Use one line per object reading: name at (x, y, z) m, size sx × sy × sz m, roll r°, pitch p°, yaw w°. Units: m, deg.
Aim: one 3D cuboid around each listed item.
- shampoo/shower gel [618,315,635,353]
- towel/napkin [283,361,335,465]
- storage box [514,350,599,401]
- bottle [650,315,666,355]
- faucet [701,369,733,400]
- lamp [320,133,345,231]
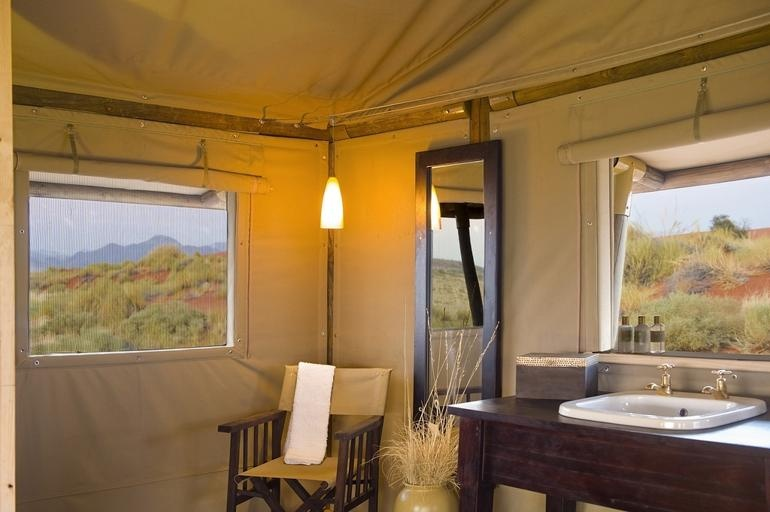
shampoo/shower gel at (1.449, 0.470, 3.448) m, size 0.088 × 0.213 × 0.063 m, roll -1°, pitch -1°, yaw 24°
towel/napkin at (-0.557, 1.084, 3.975) m, size 0.324 × 0.675 × 0.097 m, roll 2°, pitch -6°, yaw 10°
storage box at (0.944, 0.692, 3.236) m, size 0.378 × 0.212 × 0.267 m, roll -1°, pitch -3°, yaw 24°
bottle at (1.614, 0.465, 3.388) m, size 0.085 × 0.215 × 0.069 m, roll 1°, pitch -1°, yaw -32°
faucet at (1.749, 0.666, 2.983) m, size 0.191 × 0.179 × 0.140 m, roll 7°, pitch -8°, yaw -35°
lamp at (-0.389, -0.559, 4.206) m, size 0.177 × 0.749 × 0.722 m, roll 0°, pitch -2°, yaw -6°
